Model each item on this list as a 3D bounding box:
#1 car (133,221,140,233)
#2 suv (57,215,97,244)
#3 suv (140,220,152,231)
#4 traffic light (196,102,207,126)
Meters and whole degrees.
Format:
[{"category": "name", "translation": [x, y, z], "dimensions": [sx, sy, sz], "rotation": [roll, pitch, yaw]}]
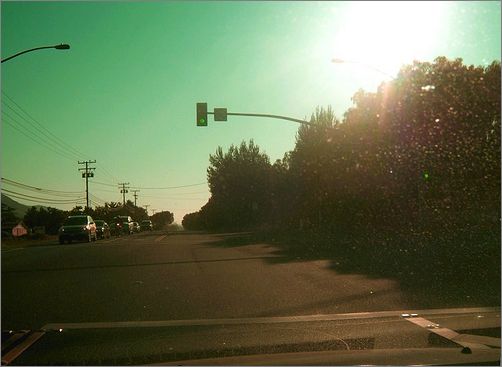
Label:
[{"category": "car", "translation": [-15.697, 6.005, 62.319], "dimensions": [0.875, 0.891, 1.525], "rotation": [3, -9, -24]}, {"category": "suv", "translation": [-12.062, 3.209, 32.141], "dimensions": [1.530, 1.527, 2.871], "rotation": [0, -12, -8]}, {"category": "suv", "translation": [-17.244, 7.090, 75.267], "dimensions": [1.247, 1.235, 2.324], "rotation": [1, 1, -9]}, {"category": "traffic light", "translation": [-2.538, -3.596, 23.631], "dimensions": [0.482, 1.246, 0.976], "rotation": [-1, -1, -11]}]
